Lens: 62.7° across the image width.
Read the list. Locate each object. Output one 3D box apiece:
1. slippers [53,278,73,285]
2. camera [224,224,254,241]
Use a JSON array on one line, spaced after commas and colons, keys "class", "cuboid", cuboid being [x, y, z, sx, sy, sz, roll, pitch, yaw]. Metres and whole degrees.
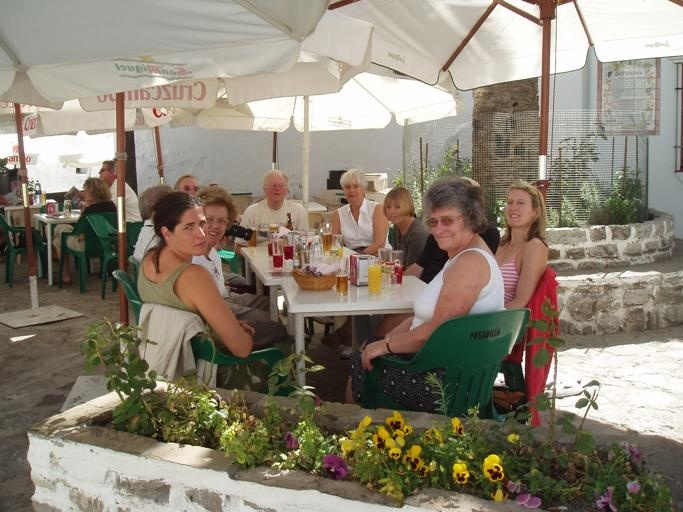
[{"class": "slippers", "cuboid": [-3.965, 0.375, 7.780, 0.325, 0.118, 0.117, 4, 3, 34]}, {"class": "camera", "cuboid": [-0.855, -0.186, 4.539, 0.090, 0.088, 0.247, -11, -16, 43]}]
